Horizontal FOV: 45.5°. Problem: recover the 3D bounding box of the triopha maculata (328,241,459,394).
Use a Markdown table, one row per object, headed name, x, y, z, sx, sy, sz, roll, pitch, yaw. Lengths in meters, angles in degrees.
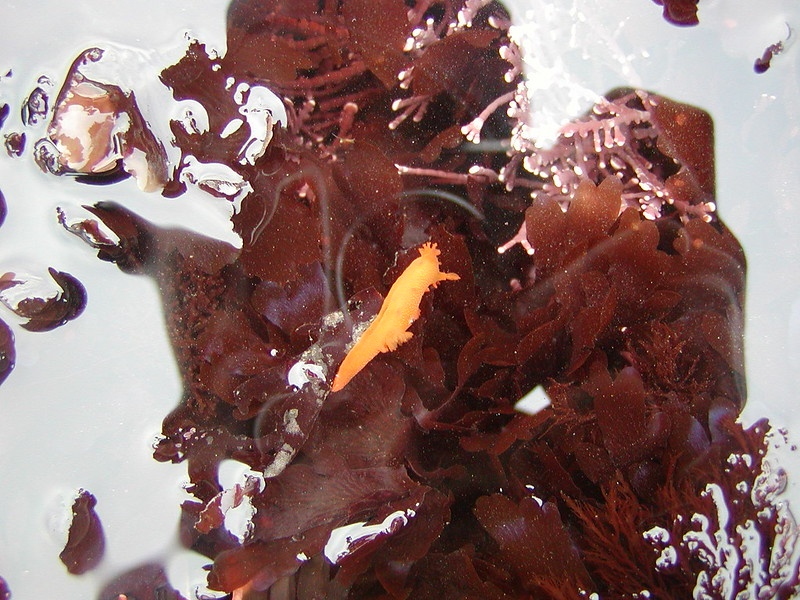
| name | x | y | z | sx | sy | sz | roll | pitch | yaw |
| --- | --- | --- | --- | --- | --- | --- | --- | --- | --- |
| triopha maculata | -0.022 | 0.055 | 2.403 | 0.145 | 0.125 | 0.467 | 25 | 65 | 29 |
